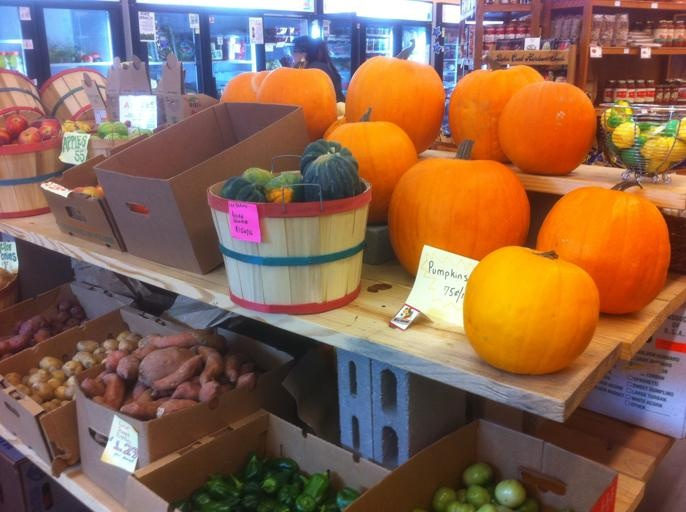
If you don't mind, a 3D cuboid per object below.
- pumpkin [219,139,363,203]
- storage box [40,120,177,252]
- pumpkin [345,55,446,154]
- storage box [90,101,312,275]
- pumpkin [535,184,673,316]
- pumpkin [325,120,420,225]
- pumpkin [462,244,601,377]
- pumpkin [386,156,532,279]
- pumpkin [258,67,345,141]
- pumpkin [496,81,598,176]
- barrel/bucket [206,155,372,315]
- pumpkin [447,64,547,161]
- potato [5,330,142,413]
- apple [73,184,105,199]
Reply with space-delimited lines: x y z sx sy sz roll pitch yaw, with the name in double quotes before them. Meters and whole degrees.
"pumpkin" -0.136 -0.205 1.398 0.322 0.140 0.200 -8 17 17
"storage box" -0.896 -0.268 2.200 0.384 0.277 0.622 7 42 40
"pumpkin" 0.213 -0.539 1.951 0.323 0.326 0.327 0 13 -29
"storage box" -0.417 -0.231 2.015 0.595 0.525 0.807 10 40 37
"pumpkin" 0.701 -0.038 1.459 0.346 0.342 0.340 13 7 -26
"pumpkin" 0.115 -0.312 1.867 0.312 0.325 0.315 -7 13 -27
"pumpkin" 0.429 0.126 1.259 0.269 0.283 0.275 8 4 -11
"pumpkin" 0.350 -0.149 1.634 0.339 0.382 0.363 0 12 -27
"pumpkin" -0.182 -0.620 2.140 0.282 0.291 0.286 -10 19 -30
"pumpkin" 0.651 -0.391 1.709 0.289 0.303 0.285 0 9 -3
"barrel/bucket" -0.147 -0.078 1.417 0.353 0.281 0.376 -1 16 0
"pumpkin" 0.493 -0.516 1.773 0.313 0.329 0.335 -11 16 -3
"potato" -1.235 0.496 2.312 0.323 0.149 0.451 2 28 47
"apple" -1.008 -0.249 1.974 0.091 0.042 0.096 2 14 -2
